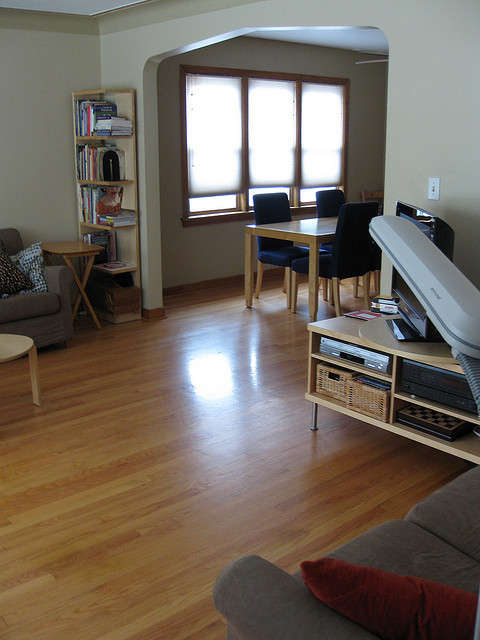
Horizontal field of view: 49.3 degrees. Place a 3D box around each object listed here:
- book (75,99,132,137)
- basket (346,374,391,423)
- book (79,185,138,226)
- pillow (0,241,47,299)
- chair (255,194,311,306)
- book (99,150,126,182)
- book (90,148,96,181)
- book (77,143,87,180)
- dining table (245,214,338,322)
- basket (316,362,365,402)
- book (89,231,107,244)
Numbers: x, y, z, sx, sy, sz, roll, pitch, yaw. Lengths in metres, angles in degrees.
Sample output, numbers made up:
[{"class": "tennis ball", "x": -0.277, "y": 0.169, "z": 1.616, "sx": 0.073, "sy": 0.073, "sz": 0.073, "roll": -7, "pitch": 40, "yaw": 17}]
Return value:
[{"class": "book", "x": -1.244, "y": -1.845, "z": 4.762, "sx": 0.286, "sy": 0.370, "sz": 0.587, "roll": -11, "pitch": 18, "yaw": -40}, {"class": "basket", "x": 0.629, "y": 0.399, "z": 2.618, "sx": 0.214, "sy": 0.134, "sz": 0.207, "roll": -5, "pitch": 23, "yaw": -38}, {"class": "book", "x": -1.257, "y": -1.108, "z": 4.962, "sx": 0.270, "sy": 0.433, "sz": 0.484, "roll": 3, "pitch": 9, "yaw": 41}, {"class": "pillow", "x": -1.701, "y": -0.422, "z": 4.236, "sx": 0.437, "sy": 0.422, "sz": 0.129, "roll": -20, "pitch": -13, "yaw": 4}, {"class": "chair", "x": 0.527, "y": -0.790, "z": 5.629, "sx": 0.634, "sy": 1.126, "sz": 0.629, "roll": -15, "pitch": 21, "yaw": -39}, {"class": "book", "x": -1.160, "y": -1.407, "z": 4.755, "sx": 0.093, "sy": 0.266, "sz": 0.285, "roll": 13, "pitch": 20, "yaw": 35}, {"class": "book", "x": -1.339, "y": -1.429, "z": 4.810, "sx": 0.097, "sy": 0.266, "sz": 0.031, "roll": 13, "pitch": 18, "yaw": 40}, {"class": "book", "x": -1.499, "y": -1.485, "z": 4.922, "sx": 0.072, "sy": 0.260, "sz": 0.193, "roll": 4, "pitch": 9, "yaw": -15}, {"class": "dining table", "x": 0.429, "y": -0.525, "z": 5.403, "sx": 1.358, "sy": 0.783, "sz": 0.804, "roll": 14, "pitch": 14, "yaw": 37}, {"class": "basket", "x": 0.507, "y": 0.373, "z": 2.906, "sx": 0.277, "sy": 0.149, "sz": 0.275, "roll": -16, "pitch": -27, "yaw": 43}, {"class": "book", "x": -1.349, "y": -0.797, "z": 4.984, "sx": 0.131, "sy": 0.098, "sz": 0.187, "roll": 19, "pitch": 15, "yaw": 2}]
